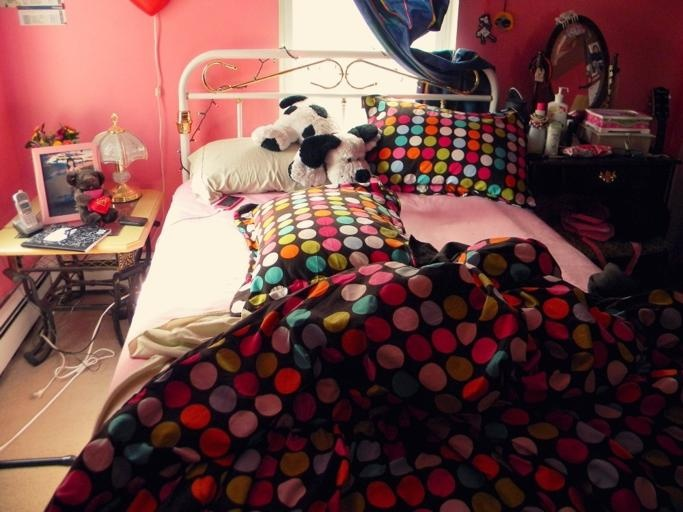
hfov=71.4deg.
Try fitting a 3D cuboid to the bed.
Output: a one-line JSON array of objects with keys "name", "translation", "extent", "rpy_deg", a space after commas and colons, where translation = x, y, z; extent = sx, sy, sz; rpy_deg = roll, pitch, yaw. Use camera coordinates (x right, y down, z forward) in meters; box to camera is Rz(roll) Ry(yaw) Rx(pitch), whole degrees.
[{"name": "bed", "translation": [-0.160, -0.063, 2.160], "extent": [1.656, 0.770, 1.674], "rpy_deg": [-1, 41, -3]}]

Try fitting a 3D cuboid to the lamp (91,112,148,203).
[{"name": "lamp", "translation": [-1.113, -0.491, 2.380], "extent": [0.272, 0.396, 0.269], "rpy_deg": [-8, 21, -19]}]

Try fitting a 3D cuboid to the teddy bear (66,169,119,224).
[{"name": "teddy bear", "translation": [-1.096, -0.280, 2.168], "extent": [0.181, 0.265, 0.169], "rpy_deg": [-28, 12, -22]}]

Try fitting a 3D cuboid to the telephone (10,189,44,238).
[{"name": "telephone", "translation": [-1.380, -0.193, 2.071], "extent": [0.122, 0.175, 0.107], "rpy_deg": [8, 28, 15]}]

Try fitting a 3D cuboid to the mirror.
[{"name": "mirror", "translation": [1.327, -1.088, 2.741], "extent": [0.366, 0.534, 0.096], "rpy_deg": [-3, 24, -5]}]

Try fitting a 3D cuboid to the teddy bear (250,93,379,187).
[{"name": "teddy bear", "translation": [-0.100, -0.560, 2.255], "extent": [0.559, 0.238, 0.649], "rpy_deg": [-21, 52, -30]}]

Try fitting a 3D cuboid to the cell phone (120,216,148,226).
[{"name": "cell phone", "translation": [-0.960, -0.162, 2.189], "extent": [0.065, 0.015, 0.065], "rpy_deg": [3, 25, -12]}]

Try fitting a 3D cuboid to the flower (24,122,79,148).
[{"name": "flower", "translation": [-1.420, -0.589, 2.312], "extent": [0.191, 0.087, 0.191], "rpy_deg": [-10, 9, 15]}]
